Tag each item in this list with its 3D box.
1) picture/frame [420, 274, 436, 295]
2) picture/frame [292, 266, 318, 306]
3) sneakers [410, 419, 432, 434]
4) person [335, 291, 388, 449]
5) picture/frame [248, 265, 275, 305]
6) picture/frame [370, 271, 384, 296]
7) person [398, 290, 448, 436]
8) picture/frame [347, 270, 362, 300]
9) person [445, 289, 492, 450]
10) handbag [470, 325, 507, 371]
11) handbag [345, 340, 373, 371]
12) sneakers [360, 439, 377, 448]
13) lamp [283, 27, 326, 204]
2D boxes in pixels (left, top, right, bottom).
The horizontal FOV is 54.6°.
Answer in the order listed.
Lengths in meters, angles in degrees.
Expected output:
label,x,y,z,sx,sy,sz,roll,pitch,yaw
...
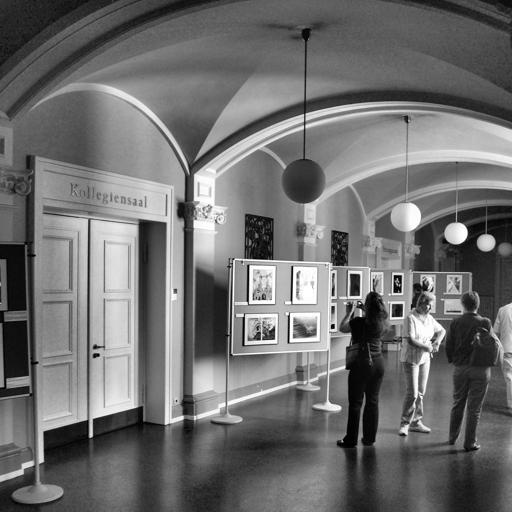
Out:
label,x,y,z,sx,sy,sz,roll,pitch,yaw
picture/frame,3.999,0.649,11.502,0.445,0.720,0.071,-2,-34,18
picture/frame,0.692,0.425,7.171,0.468,0.745,0.024,1,1,-38
sneakers,2.032,2.089,6.081,0.285,0.183,0.117,3,-2,24
person,1.174,1.236,5.409,0.513,1.700,0.309,1,-1,4
picture/frame,0.063,0.385,6.733,0.036,0.657,0.448,4,2,44
picture/frame,2.246,0.481,9.238,0.398,0.662,0.044,-3,5,-39
person,1.977,1.278,5.961,0.501,1.700,0.706,1,-1,22
picture/frame,1.751,0.519,8.871,0.032,0.597,0.433,1,-1,39
person,2.321,1.244,5.447,0.454,1.703,0.478,1,-1,26
handbag,2.397,0.959,5.171,0.352,0.451,0.284,-3,-2,7
handbag,1.112,1.062,5.293,0.305,0.345,0.137,0,1,27
sneakers,1.242,2.060,5.504,0.055,0.143,0.171,1,-7,-33
lamp,0.492,-1.248,5.104,0.401,1.517,1.449,1,-2,5
